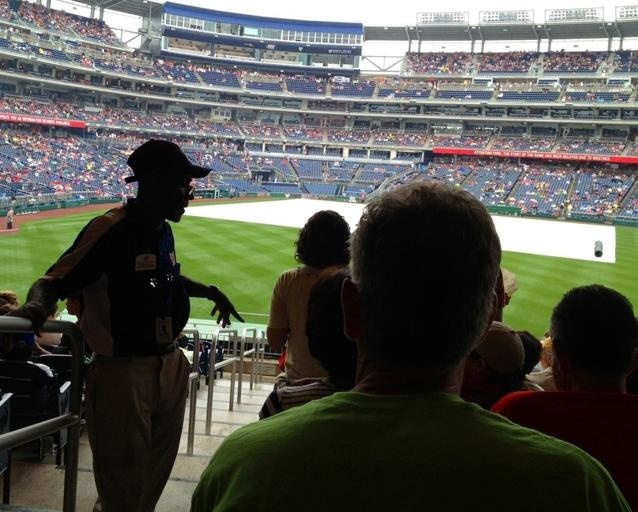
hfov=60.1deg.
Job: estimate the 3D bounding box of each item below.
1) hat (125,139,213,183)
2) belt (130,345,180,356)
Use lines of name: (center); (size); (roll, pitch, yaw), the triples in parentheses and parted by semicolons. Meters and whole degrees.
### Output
hat: (-0.868, -0.547, 3.195); (0.423, 0.215, 0.251); (-10, 6, -15)
belt: (-0.892, 0.516, 2.954); (0.115, 0.025, 0.112); (1, 2, 27)
